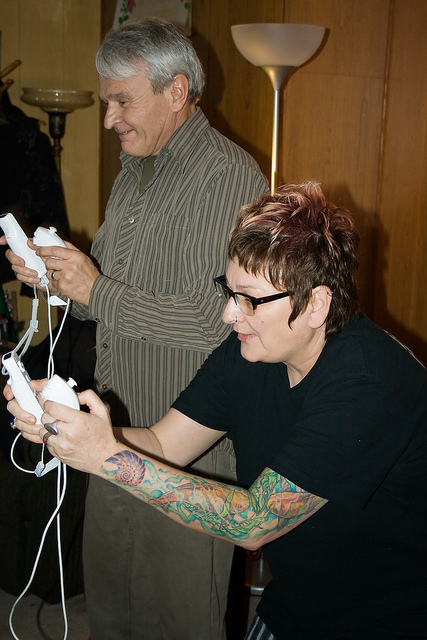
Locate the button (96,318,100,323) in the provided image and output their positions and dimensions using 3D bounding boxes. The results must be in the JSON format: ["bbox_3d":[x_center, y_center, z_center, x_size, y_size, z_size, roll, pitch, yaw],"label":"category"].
[{"bbox_3d":[-0.281,0.000,1.297,0.011,0.011,0.003,-6,0,30],"label":"button"}]

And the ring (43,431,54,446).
[{"bbox_3d":[-0.215,0.154,0.703,0.017,0.021,0.008,1,-4,24],"label":"ring"}]

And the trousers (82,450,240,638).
[{"bbox_3d":[-0.158,0.614,1.278,0.418,0.445,0.122,14,13,35],"label":"trousers"}]

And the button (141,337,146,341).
[{"bbox_3d":[-0.166,0.044,1.269,0.008,0.007,0.002,3,28,26],"label":"button"}]

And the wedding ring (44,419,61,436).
[{"bbox_3d":[-0.200,0.132,0.664,0.021,0.019,0.007,-36,-11,13],"label":"wedding ring"}]

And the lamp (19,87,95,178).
[{"bbox_3d":[-0.855,-0.967,2.921,0.376,0.527,0.346,2,17,-9],"label":"lamp"}]

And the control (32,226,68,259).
[{"bbox_3d":[-0.361,-0.173,1.189,0.049,0.043,0.084,44,12,21],"label":"control"}]

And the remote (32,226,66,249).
[{"bbox_3d":[-0.356,-0.183,1.178,0.036,0.038,0.062,-44,-19,24],"label":"remote"}]

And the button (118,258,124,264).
[{"bbox_3d":[-0.237,-0.150,1.365,0.020,0.014,0.003,14,13,36],"label":"button"}]

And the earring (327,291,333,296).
[{"bbox_3d":[0.160,-0.036,0.737,0.006,0.005,0.001,1,-23,-17],"label":"earring"}]

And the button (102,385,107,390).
[{"bbox_3d":[-0.285,0.176,1.399,0.011,0.010,0.004,-2,-4,4],"label":"button"}]

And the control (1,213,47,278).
[{"bbox_3d":[-0.405,-0.156,1.142,0.095,0.131,0.081,4,11,-15],"label":"control"}]

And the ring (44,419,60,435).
[{"bbox_3d":[-0.199,0.132,0.664,0.021,0.019,0.006,-37,-17,18],"label":"ring"}]

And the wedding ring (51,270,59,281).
[{"bbox_3d":[-0.358,-0.100,1.201,0.007,0.019,0.017,3,-9,-44],"label":"wedding ring"}]

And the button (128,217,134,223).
[{"bbox_3d":[-0.209,-0.254,1.363,0.005,0.013,0.020,-4,14,-44],"label":"button"}]

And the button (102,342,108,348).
[{"bbox_3d":[-0.280,0.065,1.383,0.015,0.015,0.004,0,-3,22],"label":"button"}]

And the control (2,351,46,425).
[{"bbox_3d":[-0.278,0.097,0.787,0.063,0.105,0.046,5,11,-8],"label":"control"}]
